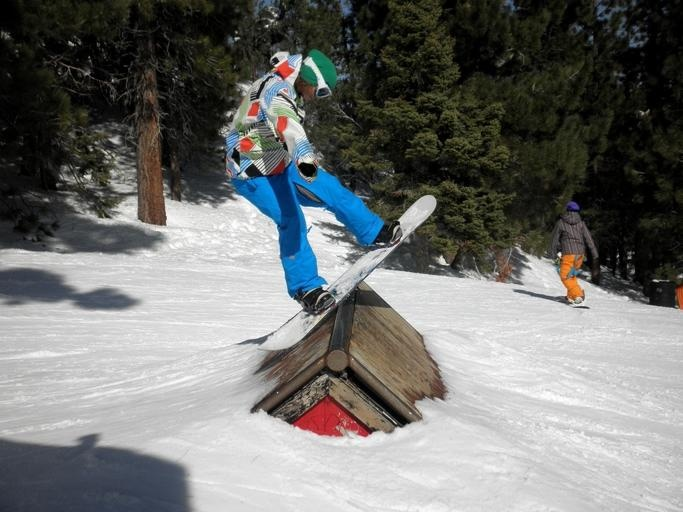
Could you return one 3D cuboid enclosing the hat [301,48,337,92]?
[{"bbox_3d":[-0.247,-1.591,4.919,0.363,0.298,0.122,39,-27,-21],"label":"hat"}]

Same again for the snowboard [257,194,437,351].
[{"bbox_3d":[0.052,0.124,7.058,0.569,0.292,4.033,3,36,46],"label":"snowboard"}]

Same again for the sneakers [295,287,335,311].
[{"bbox_3d":[-0.210,0.369,4.649,0.168,0.124,0.269,-44,30,-26],"label":"sneakers"}]

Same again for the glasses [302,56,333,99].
[{"bbox_3d":[-0.200,-1.558,4.914,0.370,0.234,0.194,43,6,-8],"label":"glasses"}]

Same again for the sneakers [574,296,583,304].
[{"bbox_3d":[3.395,0.621,8.084,0.133,0.122,0.083,5,11,14],"label":"sneakers"}]
